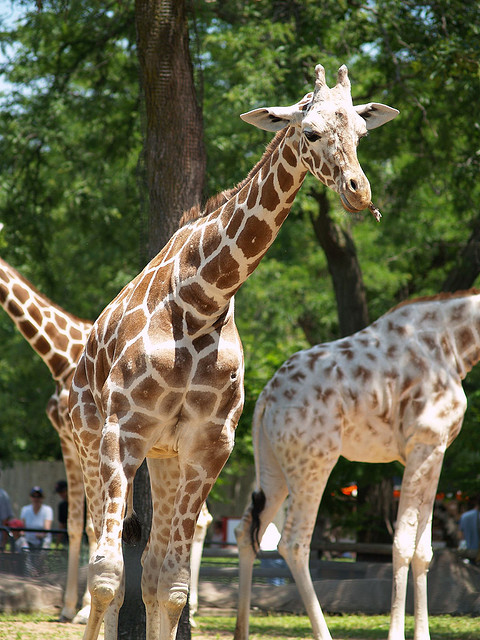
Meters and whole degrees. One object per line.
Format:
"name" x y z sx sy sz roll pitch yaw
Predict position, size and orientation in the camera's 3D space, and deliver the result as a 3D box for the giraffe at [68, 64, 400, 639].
"giraffe" -0.290 0.273 11.855 2.323 4.297 1.137 0 -2 6
